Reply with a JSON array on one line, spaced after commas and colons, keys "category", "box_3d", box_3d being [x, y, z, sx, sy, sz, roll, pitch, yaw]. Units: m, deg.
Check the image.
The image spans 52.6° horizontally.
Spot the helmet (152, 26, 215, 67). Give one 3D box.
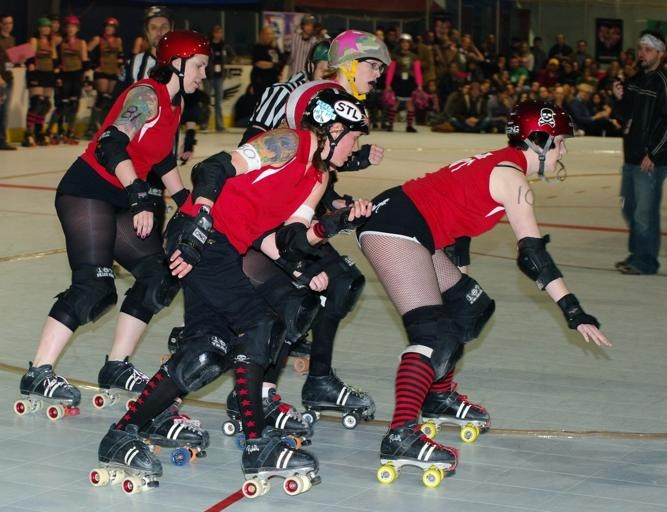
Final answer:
[{"category": "helmet", "box_3d": [-0.785, -1.060, 3.518, 0.244, 0.163, 0.192, 17, 8, 1]}]

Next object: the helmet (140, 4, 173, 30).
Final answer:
[{"category": "helmet", "box_3d": [-1.356, -1.837, 5.177, 0.252, 0.191, 0.184, -5, 6, -11]}]

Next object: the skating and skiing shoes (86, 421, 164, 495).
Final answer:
[{"category": "skating and skiing shoes", "box_3d": [-0.845, 0.822, 2.781, 0.357, 0.222, 0.190, 6, 4, 27]}]

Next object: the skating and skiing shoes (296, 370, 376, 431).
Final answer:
[{"category": "skating and skiing shoes", "box_3d": [0.018, 0.735, 3.437, 0.386, 0.227, 0.241, 2, 0, 14]}]

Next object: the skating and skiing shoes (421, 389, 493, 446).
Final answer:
[{"category": "skating and skiing shoes", "box_3d": [0.625, 0.806, 3.356, 0.399, 0.219, 0.188, 0, 3, 22]}]

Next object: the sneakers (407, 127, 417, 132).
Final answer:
[{"category": "sneakers", "box_3d": [2.125, -3.408, 18.287, 0.310, 0.250, 0.125, -1, 19, 2]}]

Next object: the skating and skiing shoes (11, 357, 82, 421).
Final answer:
[{"category": "skating and skiing shoes", "box_3d": [-1.468, 0.693, 3.472, 0.343, 0.209, 0.207, 7, 8, 20]}]

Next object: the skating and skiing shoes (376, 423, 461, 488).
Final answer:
[{"category": "skating and skiing shoes", "box_3d": [0.355, 0.814, 2.828, 0.356, 0.221, 0.216, 1, 5, 13]}]

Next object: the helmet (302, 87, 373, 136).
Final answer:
[{"category": "helmet", "box_3d": [0.027, -0.599, 2.917, 0.255, 0.193, 0.177, 22, 8, -3]}]
